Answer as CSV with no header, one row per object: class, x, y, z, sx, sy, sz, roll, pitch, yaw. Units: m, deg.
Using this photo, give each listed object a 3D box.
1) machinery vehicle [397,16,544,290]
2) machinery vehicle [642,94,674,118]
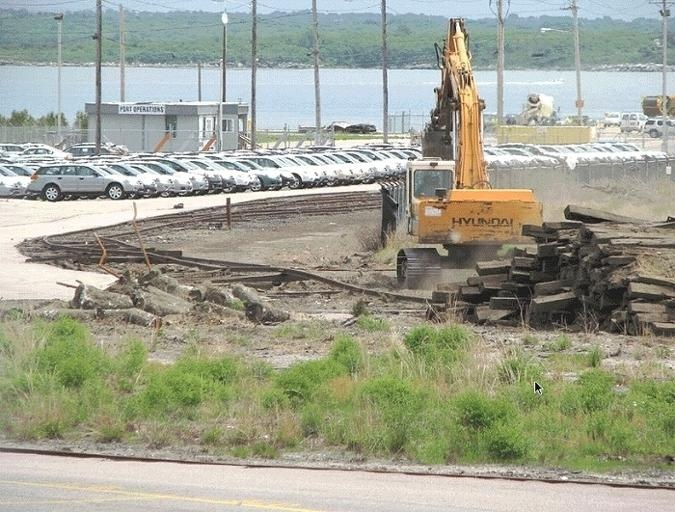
machinery vehicle,3.316,-3.244,37.350,3.260,8.095,9.360,-2,6,-2
machinery vehicle,20.041,-9.606,83.804,2.733,1.135,2.671,9,16,32
